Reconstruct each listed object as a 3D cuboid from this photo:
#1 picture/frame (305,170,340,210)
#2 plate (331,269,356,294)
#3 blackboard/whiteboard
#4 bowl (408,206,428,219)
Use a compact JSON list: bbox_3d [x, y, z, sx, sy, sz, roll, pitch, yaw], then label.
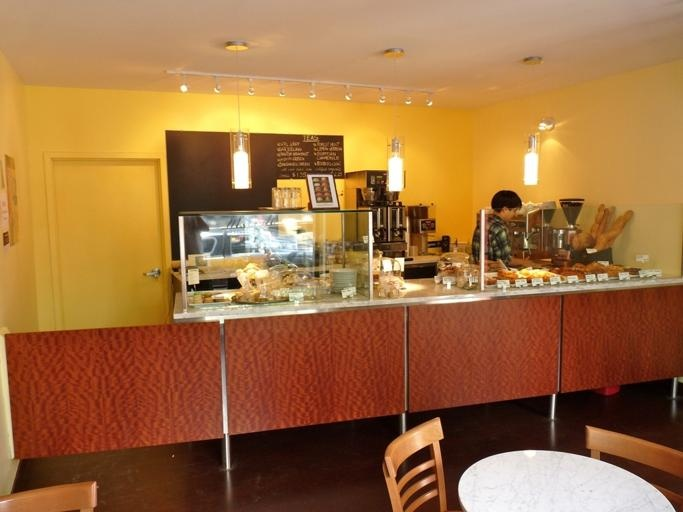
[{"bbox_3d":[-0.135,-0.447,3.800,0.206,0.232,0.253,-2,11,-5],"label":"picture/frame"},{"bbox_3d":[0.026,0.193,3.788,0.195,0.126,0.168,-1,2,2],"label":"plate"},{"bbox_3d":[-0.954,-0.810,6.243,2.069,1.232,0.046,-6,33,-21],"label":"blackboard/whiteboard"},{"bbox_3d":[0.923,-0.518,6.510,0.267,0.159,0.178,2,12,13],"label":"bowl"}]
